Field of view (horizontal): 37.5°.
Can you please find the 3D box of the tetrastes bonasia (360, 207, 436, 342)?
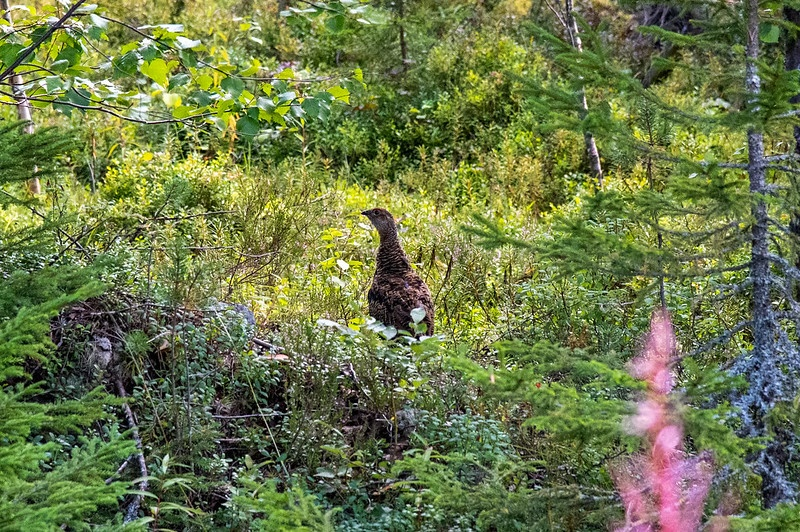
[{"bbox_3d":[0.025,0.020,9.953,0.489,1.195,0.946,14,-14,-27],"label":"tetrastes bonasia"}]
